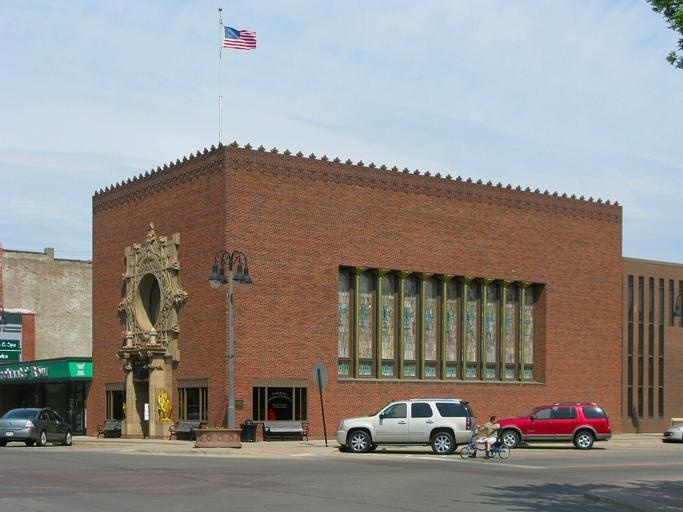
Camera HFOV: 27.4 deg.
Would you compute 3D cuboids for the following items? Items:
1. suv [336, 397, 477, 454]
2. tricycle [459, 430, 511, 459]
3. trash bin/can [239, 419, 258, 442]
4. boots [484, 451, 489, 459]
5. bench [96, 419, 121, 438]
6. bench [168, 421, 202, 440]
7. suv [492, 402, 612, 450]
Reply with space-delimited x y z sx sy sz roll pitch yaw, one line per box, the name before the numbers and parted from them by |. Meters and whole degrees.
suv | 2.776 7.314 59.286 5.307 2.084 2.427 1 -8 4
tricycle | 5.954 8.022 57.381 1.948 1.038 0.829 3 -19 0
trash bin/can | -4.335 8.051 63.740 0.861 1.144 0.970 -7 -9 43
boots | 5.964 8.143 56.991 0.219 0.334 0.574 -1 -12 7
bench | -12.043 9.114 73.299 0.826 1.131 3.004 5 -13 -19
bench | -7.393 8.433 67.025 1.395 0.837 0.889 -6 -12 33
suv | 9.600 7.776 64.044 5.031 1.942 2.298 2 -9 -1
